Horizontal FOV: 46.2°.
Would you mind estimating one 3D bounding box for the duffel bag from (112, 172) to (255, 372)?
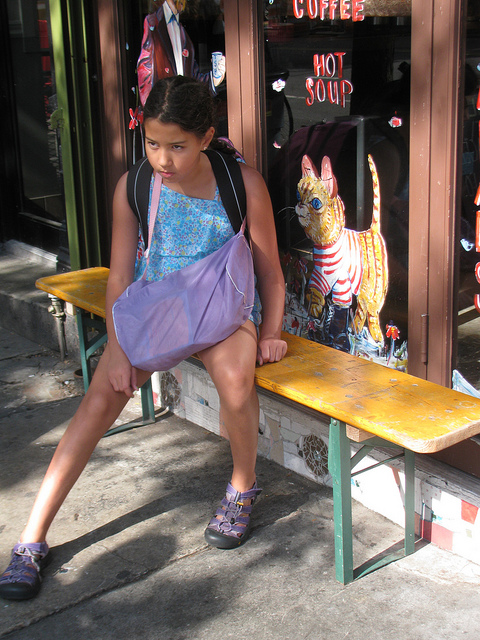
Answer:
[{"bbox_3d":[-0.186,-0.157,1.819,0.460,0.632,0.318,-2,10,1],"label":"duffel bag"}]

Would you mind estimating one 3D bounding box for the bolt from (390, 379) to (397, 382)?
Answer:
[{"bbox_3d":[0.479,0.188,1.752,0.024,0.001,0.018,-3,10,-5],"label":"bolt"}]

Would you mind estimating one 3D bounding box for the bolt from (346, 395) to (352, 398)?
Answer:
[{"bbox_3d":[0.312,0.218,1.603,0.017,0.001,0.022,-1,10,4],"label":"bolt"}]

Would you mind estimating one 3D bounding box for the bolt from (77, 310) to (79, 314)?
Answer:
[{"bbox_3d":[-0.860,-0.041,2.973,0.013,0.013,0.012,6,53,1],"label":"bolt"}]

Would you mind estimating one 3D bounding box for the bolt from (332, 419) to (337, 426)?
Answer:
[{"bbox_3d":[0.262,0.284,1.556,0.003,0.012,0.012,-4,14,-33],"label":"bolt"}]

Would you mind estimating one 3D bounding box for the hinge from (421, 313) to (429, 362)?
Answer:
[{"bbox_3d":[0.635,0.062,1.928,0.025,0.174,0.032,1,11,18],"label":"hinge"}]
